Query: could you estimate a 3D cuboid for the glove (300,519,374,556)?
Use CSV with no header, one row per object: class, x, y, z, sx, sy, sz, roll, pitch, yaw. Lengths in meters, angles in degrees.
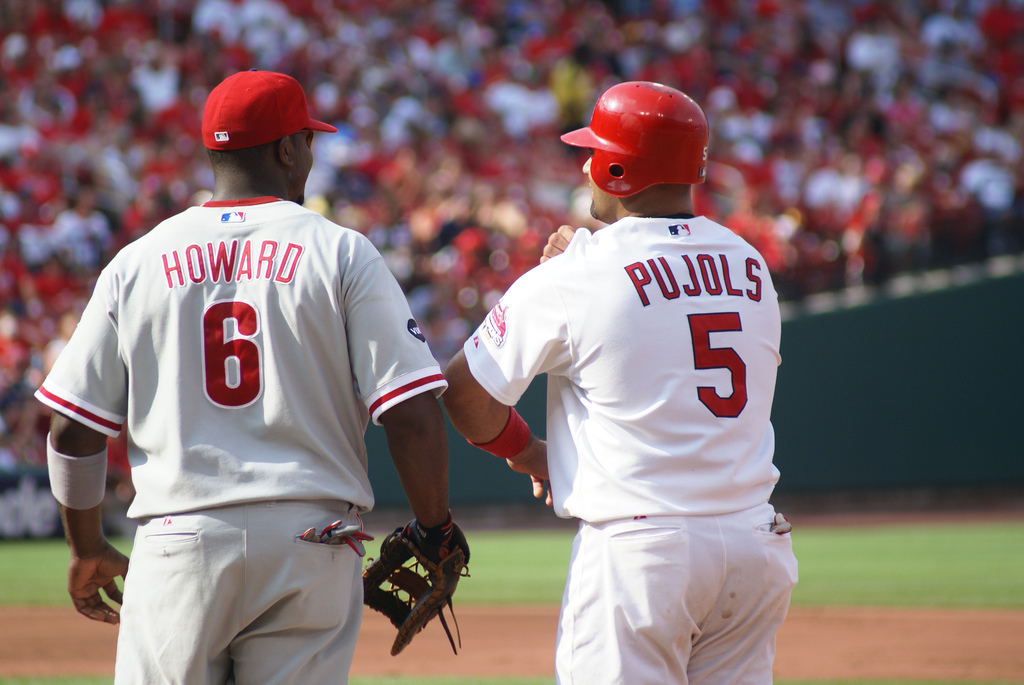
glove,-1.000,1.129,9.497,0.339,0.185,0.125,0,-35,-15
